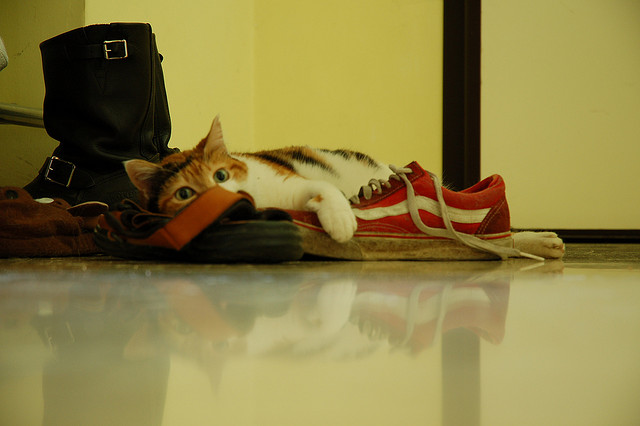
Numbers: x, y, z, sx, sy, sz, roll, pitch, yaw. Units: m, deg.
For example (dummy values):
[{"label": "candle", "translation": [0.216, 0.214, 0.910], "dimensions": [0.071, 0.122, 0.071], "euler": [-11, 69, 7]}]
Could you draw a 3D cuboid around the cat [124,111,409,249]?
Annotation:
[{"label": "cat", "translation": [-0.112, -0.109, 1.613], "dimensions": [0.668, 0.291, 0.411], "euler": [2, 17, 4]}]

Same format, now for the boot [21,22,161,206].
[{"label": "boot", "translation": [-0.617, -0.289, 1.763], "dimensions": [0.341, 0.535, 0.426], "euler": [14, 27, 28]}]

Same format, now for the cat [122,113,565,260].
[{"label": "cat", "translation": [0.165, -0.032, 1.635], "dimensions": [0.841, 0.282, 0.278], "euler": [5, -6, -34]}]

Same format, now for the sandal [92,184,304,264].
[{"label": "sandal", "translation": [-0.307, 0.020, 1.433], "dimensions": [0.457, 0.175, 0.253], "euler": [-1, 7, 12]}]
